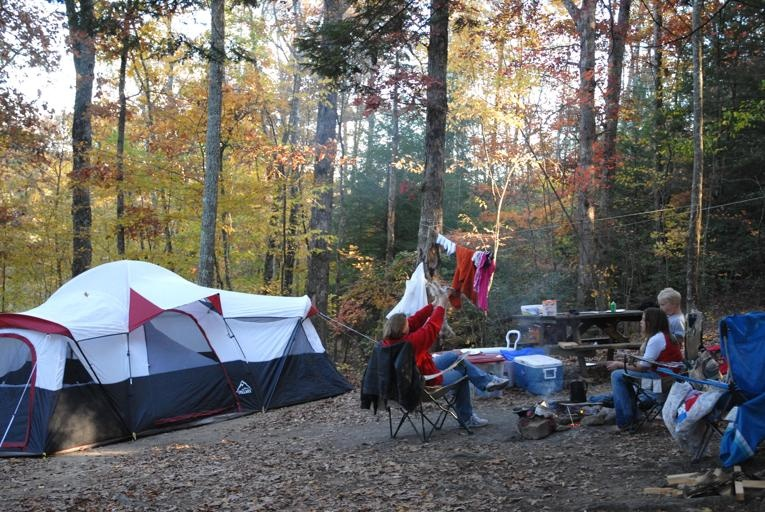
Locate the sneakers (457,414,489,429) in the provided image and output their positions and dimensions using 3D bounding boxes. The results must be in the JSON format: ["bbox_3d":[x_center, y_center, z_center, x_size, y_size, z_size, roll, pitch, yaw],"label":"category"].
[{"bbox_3d":[1.795,3.235,17.752,0.629,0.256,0.234,-1,-1,-6],"label":"sneakers"}]

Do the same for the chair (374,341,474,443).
[{"bbox_3d":[0.832,2.661,17.810,2.313,1.836,1.689,4,-8,-25],"label":"chair"}]

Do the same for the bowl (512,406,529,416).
[{"bbox_3d":[2.709,3.010,17.539,0.331,0.192,0.425,0,-4,-14],"label":"bowl"}]

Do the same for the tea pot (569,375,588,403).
[{"bbox_3d":[3.843,2.670,17.855,0.308,0.401,0.325,-1,-3,0],"label":"tea pot"}]

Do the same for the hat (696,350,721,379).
[{"bbox_3d":[5.996,2.020,16.753,0.443,0.559,0.327,6,-20,-10],"label":"hat"}]
